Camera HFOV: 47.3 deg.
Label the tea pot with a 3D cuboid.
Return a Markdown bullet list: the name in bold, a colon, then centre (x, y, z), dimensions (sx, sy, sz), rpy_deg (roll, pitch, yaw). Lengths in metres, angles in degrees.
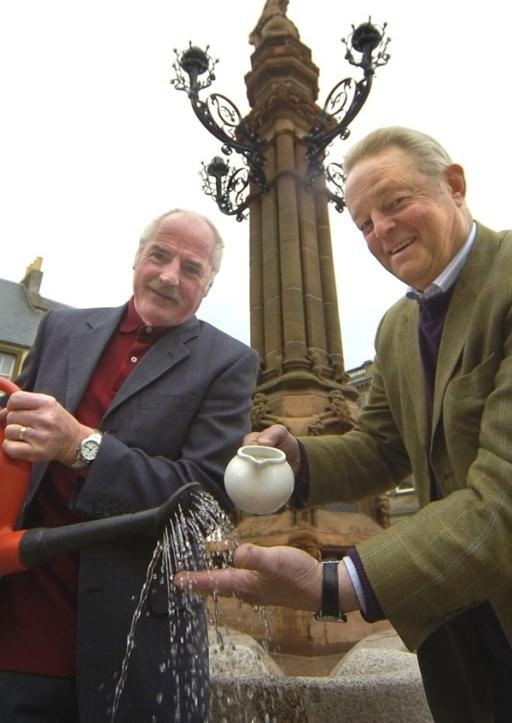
- **tea pot**: centre (-0.010, 0.355, 1.770), dimensions (0.226, 0.203, 0.192), rpy_deg (4, -5, -30)

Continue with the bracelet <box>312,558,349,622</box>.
- **bracelet**: centre (0.168, 0.517, 1.332), dimensions (0.088, 0.126, 0.137), rpy_deg (1, -29, 4)

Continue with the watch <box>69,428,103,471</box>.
- **watch**: centre (-0.451, 0.229, 1.560), dimensions (0.055, 0.108, 0.064), rpy_deg (18, -39, -21)

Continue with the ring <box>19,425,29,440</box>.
- **ring**: centre (-0.582, 0.178, 1.456), dimensions (0.018, 0.029, 0.024), rpy_deg (15, -38, -18)
